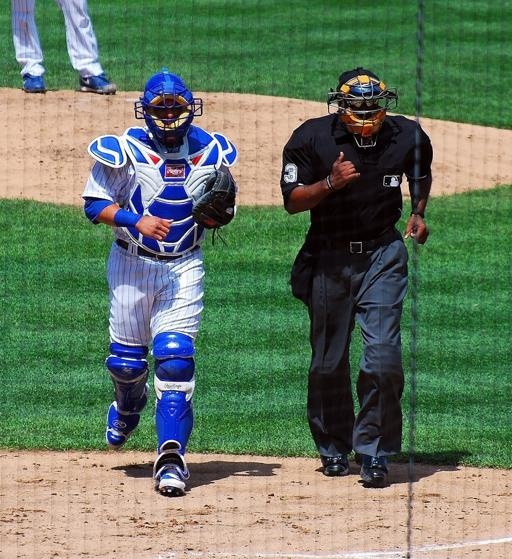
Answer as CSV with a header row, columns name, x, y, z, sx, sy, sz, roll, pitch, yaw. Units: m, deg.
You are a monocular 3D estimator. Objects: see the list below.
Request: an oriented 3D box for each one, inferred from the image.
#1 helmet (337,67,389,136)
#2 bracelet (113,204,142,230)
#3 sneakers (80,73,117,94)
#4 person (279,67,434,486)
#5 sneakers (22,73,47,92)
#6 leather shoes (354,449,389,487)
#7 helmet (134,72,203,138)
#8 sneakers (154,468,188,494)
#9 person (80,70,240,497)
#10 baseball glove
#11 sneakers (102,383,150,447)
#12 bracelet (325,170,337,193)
name,x,y,z,sx,sy,sz,roll,pitch,yaw
helmet,0.593,-1.024,8.340,0.286,0.329,0.357,-3,31,-8
bracelet,-0.726,-0.348,8.187,0.147,0.096,0.255,-4,15,-15
sneakers,-1.491,-1.822,13.731,0.404,0.174,0.151,5,13,34
person,0.530,0.092,8.345,0.763,2.125,0.671,0,15,0
sneakers,-2.083,-1.842,13.735,0.210,0.185,0.204,-2,15,-9
leather shoes,0.673,1.071,8.421,0.194,0.196,0.312,1,14,4
helmet,-0.506,-1.018,8.379,0.380,0.356,0.404,-3,20,-5
sneakers,-0.468,1.124,8.099,0.182,0.192,0.231,-1,14,-4
person,-0.578,0.010,8.281,0.831,2.292,1.006,4,15,14
baseball glove,-0.166,-0.421,8.281,0.164,0.384,0.297,21,-12,-17
sneakers,-0.800,0.875,8.760,0.171,0.456,0.190,18,-23,-2
bracelet,0.413,-0.528,8.082,0.031,0.081,0.074,-8,-22,10
